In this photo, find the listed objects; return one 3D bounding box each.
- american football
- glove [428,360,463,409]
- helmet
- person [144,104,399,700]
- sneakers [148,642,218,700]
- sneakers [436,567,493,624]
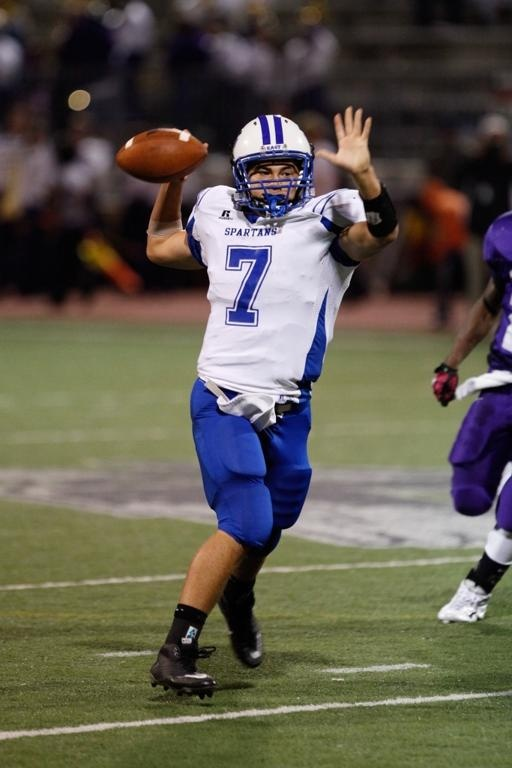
[{"bbox_3d":[-0.304,-0.746,3.209,0.318,0.163,0.204,10,25,30],"label":"american football"},{"bbox_3d":[0.682,0.004,3.441,0.128,0.149,0.080,15,-3,44],"label":"glove"},{"bbox_3d":[0.055,-0.657,2.917,0.269,0.258,0.300,-7,18,-14],"label":"helmet"},{"bbox_3d":[0.011,-0.004,2.714,0.649,1.577,0.615,0,1,-13],"label":"person"},{"bbox_3d":[-0.188,0.737,2.475,0.156,0.139,0.196,0,1,-5],"label":"sneakers"},{"bbox_3d":[0.724,0.698,3.255,0.100,0.107,0.257,36,23,16],"label":"sneakers"}]
